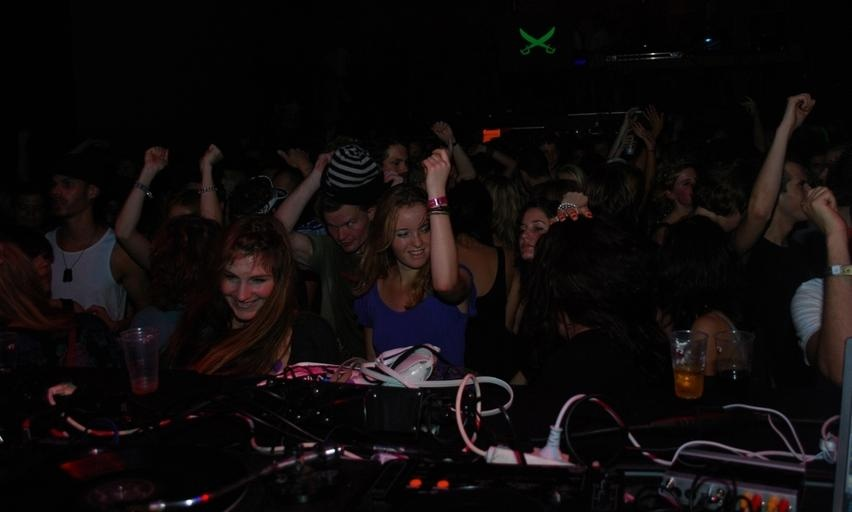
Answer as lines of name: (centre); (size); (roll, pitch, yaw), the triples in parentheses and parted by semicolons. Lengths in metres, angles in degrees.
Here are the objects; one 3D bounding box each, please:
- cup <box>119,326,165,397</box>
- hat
cup: (-1.444, 0.522, 3.317); (0.179, 0.310, 0.234); (-1, 5, -24)
hat: (-0.557, -0.576, 5.009); (0.464, 0.445, 0.214); (8, -30, -1)
